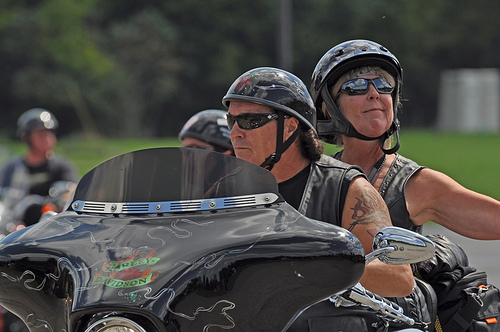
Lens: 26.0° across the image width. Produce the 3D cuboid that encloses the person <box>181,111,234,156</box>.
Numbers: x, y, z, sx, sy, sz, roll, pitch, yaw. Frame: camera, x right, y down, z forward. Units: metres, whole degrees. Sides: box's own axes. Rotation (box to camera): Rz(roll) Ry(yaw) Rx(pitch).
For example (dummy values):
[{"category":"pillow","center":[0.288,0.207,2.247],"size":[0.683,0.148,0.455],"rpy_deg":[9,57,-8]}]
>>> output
[{"category":"person","center":[-0.597,-0.514,16.206],"size":[0.657,0.589,0.775],"rpy_deg":[12,2,-9]}]

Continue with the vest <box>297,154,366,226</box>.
[{"category":"vest","center":[1.024,0.341,13.888],"size":[0.703,0.825,0.485],"rpy_deg":[23,-1,22]}]
